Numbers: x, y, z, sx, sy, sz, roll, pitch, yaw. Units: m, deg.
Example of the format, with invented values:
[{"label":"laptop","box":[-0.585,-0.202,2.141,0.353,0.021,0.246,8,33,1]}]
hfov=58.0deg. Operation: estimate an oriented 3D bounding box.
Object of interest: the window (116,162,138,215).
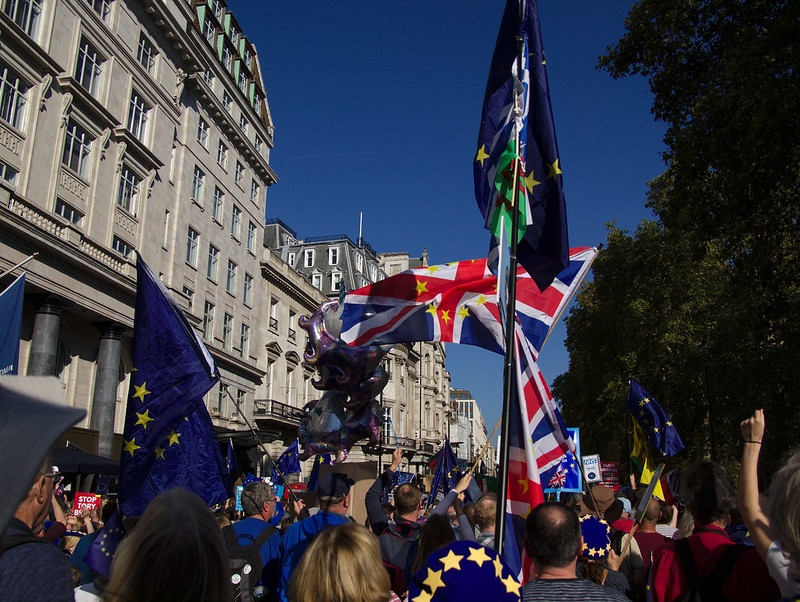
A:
[{"label":"window","box":[-10.598,-4.254,28.014,0.084,1.416,1.714,-18,-47,-48]}]

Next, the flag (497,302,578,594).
[{"label":"flag","box":[1.428,1.311,7.383,0.883,3.380,0.630,29,-48,-25]}]

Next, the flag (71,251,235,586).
[{"label":"flag","box":[-2.667,1.221,7.867,1.478,0.279,4.295,-6,-63,-32]}]
